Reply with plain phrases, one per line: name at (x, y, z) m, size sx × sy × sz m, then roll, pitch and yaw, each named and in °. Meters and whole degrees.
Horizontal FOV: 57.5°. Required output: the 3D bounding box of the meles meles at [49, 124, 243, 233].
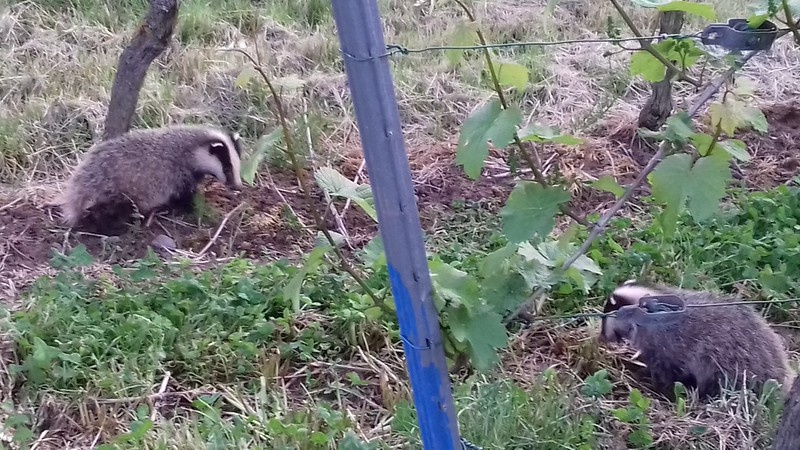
meles meles at (-2.194, -0.579, 6.960) m, size 1.925 × 0.964 × 0.861 m, roll -12°, pitch 21°, yaw -21°

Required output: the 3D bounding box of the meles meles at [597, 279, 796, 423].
meles meles at (2.268, 0.919, 5.792) m, size 1.298 × 0.768 × 0.804 m, roll 27°, pitch 18°, yaw 12°
